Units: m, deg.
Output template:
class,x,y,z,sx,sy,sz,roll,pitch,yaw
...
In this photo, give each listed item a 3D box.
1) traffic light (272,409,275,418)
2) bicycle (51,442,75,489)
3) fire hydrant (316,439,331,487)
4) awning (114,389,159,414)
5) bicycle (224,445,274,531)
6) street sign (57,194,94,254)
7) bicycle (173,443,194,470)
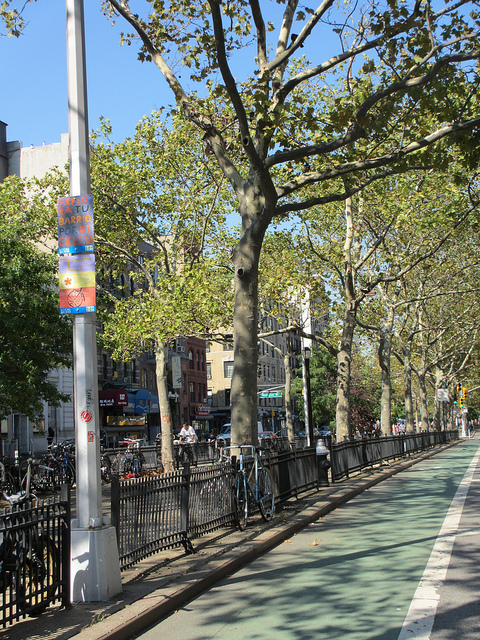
class,x,y,z,sx,sy,sz,roll,pitch,yaw
traffic light,4.462,11.932,77.218,0.617,0.945,1.104,-3,1,0
bicycle,-5.374,4.470,18.393,0.655,1.411,2.584,-2,-10,-16
fire hydrant,2.149,3.720,15.607,0.341,1.138,0.752,-6,-9,7
awning,-7.074,5.785,41.884,3.501,2.413,1.175,8,-11,-44
bicycle,0.140,2.887,10.234,0.786,1.193,2.003,-10,-16,16
street sign,-1.629,-0.942,5.969,0.381,0.582,0.067,-7,-9,15
bicycle,-2.491,6.045,27.024,0.751,1.077,2.076,-4,-9,-3
